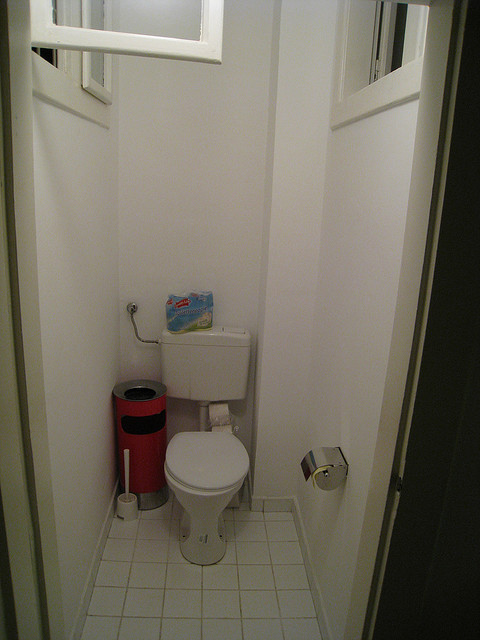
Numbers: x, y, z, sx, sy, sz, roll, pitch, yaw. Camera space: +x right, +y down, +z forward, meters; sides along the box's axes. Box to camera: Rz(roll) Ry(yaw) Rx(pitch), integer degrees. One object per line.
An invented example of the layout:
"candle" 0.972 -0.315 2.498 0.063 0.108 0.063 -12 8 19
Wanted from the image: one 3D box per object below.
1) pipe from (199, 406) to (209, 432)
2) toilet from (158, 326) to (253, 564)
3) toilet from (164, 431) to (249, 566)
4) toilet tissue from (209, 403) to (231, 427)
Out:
"pipe" -0.180 0.489 2.557 0.043 0.135 0.046 0 10 -8
"toilet" -0.144 0.555 2.314 0.331 0.913 0.723 0 21 -6
"toilet" -0.147 0.751 2.221 0.248 0.512 0.478 0 10 -5
"toilet tissue" -0.103 0.471 2.534 0.100 0.111 0.037 1 10 -7
